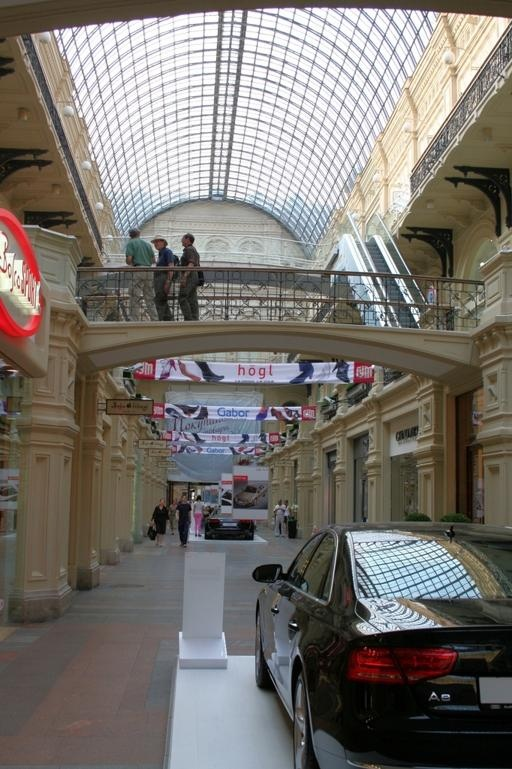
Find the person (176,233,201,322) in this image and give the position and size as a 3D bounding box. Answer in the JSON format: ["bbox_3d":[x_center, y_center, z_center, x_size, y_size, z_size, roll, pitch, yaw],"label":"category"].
[{"bbox_3d":[-1.384,-2.352,13.256,0.531,2.340,1.097,2,-11,-8],"label":"person"}]
